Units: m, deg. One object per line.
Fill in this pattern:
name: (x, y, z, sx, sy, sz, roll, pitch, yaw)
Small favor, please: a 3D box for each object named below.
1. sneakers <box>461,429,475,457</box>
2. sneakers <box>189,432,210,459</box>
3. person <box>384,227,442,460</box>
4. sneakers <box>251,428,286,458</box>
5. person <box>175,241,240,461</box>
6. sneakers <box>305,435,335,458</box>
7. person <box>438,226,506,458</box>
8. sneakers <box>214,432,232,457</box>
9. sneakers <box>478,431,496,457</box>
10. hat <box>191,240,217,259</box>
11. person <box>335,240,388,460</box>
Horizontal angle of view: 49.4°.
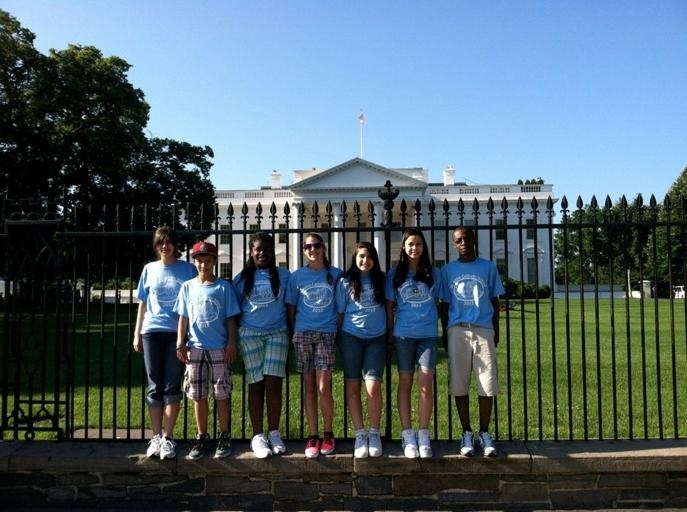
sneakers: (1.410, 2.127, 8.477, 0.170, 0.223, 0.532, -1, -10, 5)
sneakers: (-1.653, 2.182, 8.597, 0.302, 0.284, 0.197, 0, -4, -27)
person: (0.831, 0.995, 8.681, 0.609, 2.592, 0.458, -2, -4, 3)
sneakers: (-0.856, 2.151, 8.517, 0.223, 0.162, 0.374, 3, -8, -34)
person: (-1.544, 1.088, 8.593, 0.693, 2.443, 0.265, -1, -4, -17)
sneakers: (-0.266, 2.165, 8.547, 0.359, 0.257, 0.205, -2, -4, -7)
person: (1.514, 0.968, 8.711, 0.727, 2.626, 0.511, -2, -4, 5)
sneakers: (-1.392, 2.166, 8.640, 0.199, 0.286, 0.314, -1, -4, -9)
sneakers: (1.648, 2.139, 8.545, 0.184, 0.261, 0.294, -2, -4, 8)
hat: (-1.605, -0.069, 8.657, 0.305, 0.192, 0.263, -1, -4, -13)
person: (0.234, 1.064, 8.638, 0.597, 2.434, 0.331, -2, -4, -1)
